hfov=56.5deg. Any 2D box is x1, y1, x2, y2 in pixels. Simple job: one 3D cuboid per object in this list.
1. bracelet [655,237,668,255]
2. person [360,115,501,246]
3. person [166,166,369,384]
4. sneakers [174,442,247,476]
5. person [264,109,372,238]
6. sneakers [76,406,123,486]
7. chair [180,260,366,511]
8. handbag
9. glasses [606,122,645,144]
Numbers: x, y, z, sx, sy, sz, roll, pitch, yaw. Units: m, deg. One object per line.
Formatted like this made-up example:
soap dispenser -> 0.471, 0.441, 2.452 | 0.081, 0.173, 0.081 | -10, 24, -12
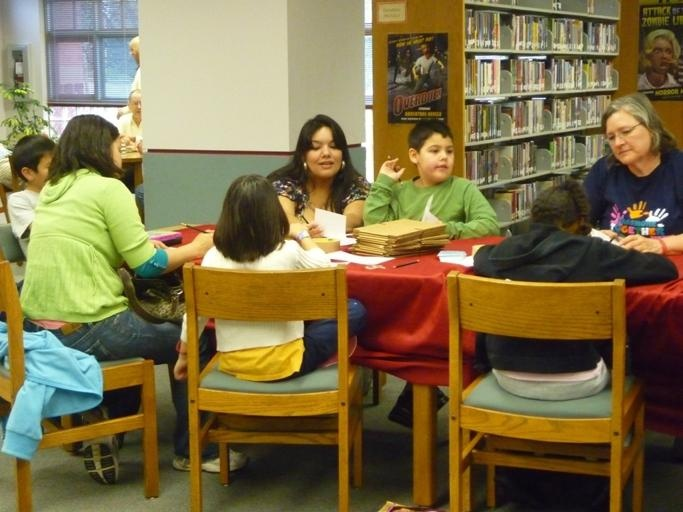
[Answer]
bracelet -> 1.287, -0.039, 2.536 | 0.014, 0.064, 0.046 | -17, -2, 15
person -> 0.469, -0.199, 3.230 | 0.644, 1.002, 0.496 | -1, -5, 21
person -> -0.268, 0.080, 2.364 | 0.702, 0.745, 0.468 | -2, 16, -5
sneakers -> -0.568, 0.867, 2.751 | 0.275, 0.134, 0.122 | -3, 3, -3
person -> -0.128, -0.312, 3.446 | 0.617, 0.836, 0.598 | -1, 21, -13
sneakers -> -1.019, 0.809, 2.618 | 0.127, 0.403, 0.163 | -4, 13, -6
chair -> -0.240, 0.482, 2.311 | 0.584, 0.968, 0.379 | 0, 10, 8
handbag -> -0.760, 0.180, 2.622 | 0.232, 0.105, 0.241 | 7, 22, 5
glasses -> 1.297, -0.570, 2.949 | 0.079, 0.094, 0.181 | -5, 11, -21
